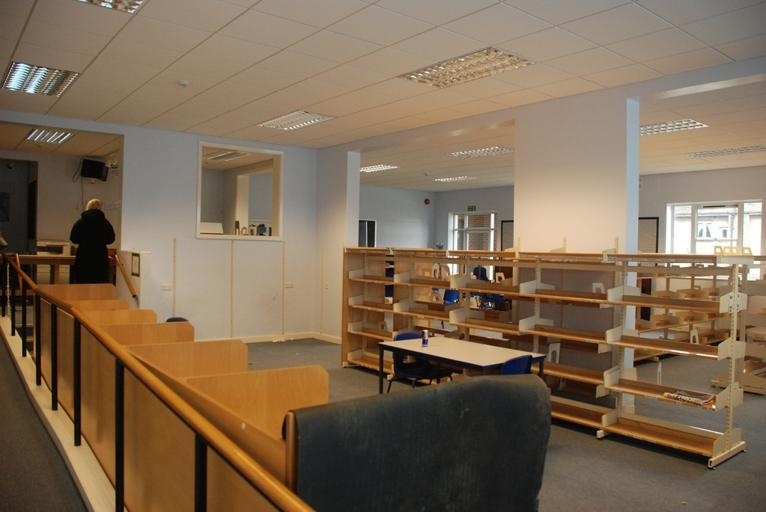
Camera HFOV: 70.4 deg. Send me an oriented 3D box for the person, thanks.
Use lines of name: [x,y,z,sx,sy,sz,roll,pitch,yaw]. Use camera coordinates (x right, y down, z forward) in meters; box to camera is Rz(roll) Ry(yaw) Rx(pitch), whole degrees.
person: [-4.480,-0.201,8.372,0.575,1.029,0.327,1,0,-24]

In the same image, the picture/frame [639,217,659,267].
picture/frame: [6.305,-0.408,12.993,0.594,0.871,0.023,0,0,-10]

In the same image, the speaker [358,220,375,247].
speaker: [-0.496,-0.657,16.467,0.606,0.728,0.164,1,0,-37]

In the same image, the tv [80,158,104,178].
tv: [-6.497,-1.883,12.082,0.523,0.411,0.259,2,-1,-24]
